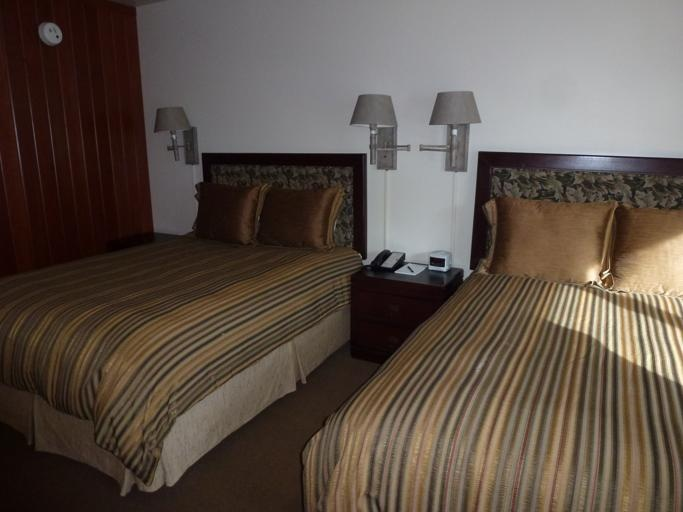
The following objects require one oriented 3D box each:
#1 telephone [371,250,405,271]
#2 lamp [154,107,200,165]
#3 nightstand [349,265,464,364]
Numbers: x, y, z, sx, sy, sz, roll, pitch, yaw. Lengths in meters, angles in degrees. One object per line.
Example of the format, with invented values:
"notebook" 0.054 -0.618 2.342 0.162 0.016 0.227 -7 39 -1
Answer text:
"telephone" 0.366 -0.010 3.788 0.171 0.088 0.181 3 22 32
"lamp" -1.509 -1.106 4.561 0.331 0.533 0.372 9 17 38
"nightstand" 0.543 0.313 3.784 0.873 0.926 0.629 7 13 31
